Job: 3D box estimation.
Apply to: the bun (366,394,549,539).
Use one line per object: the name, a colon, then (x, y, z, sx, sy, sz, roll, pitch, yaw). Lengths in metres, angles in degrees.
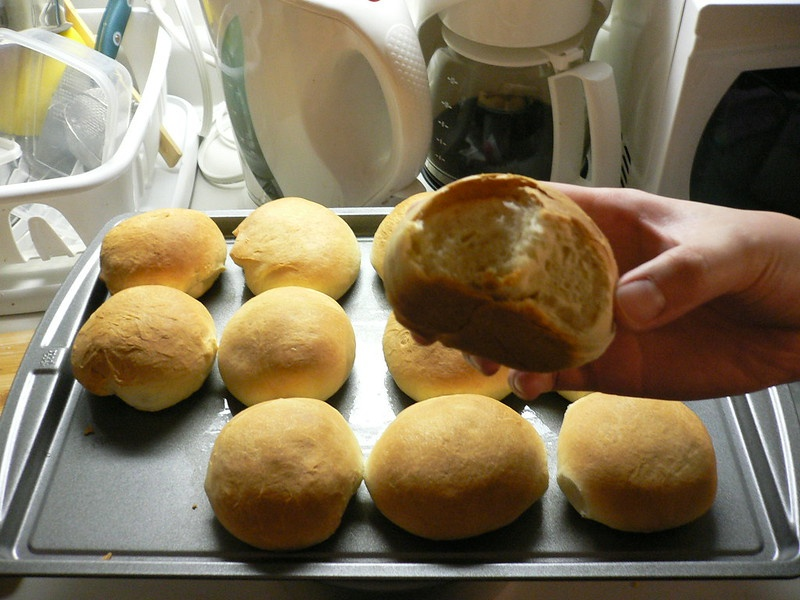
bun: (0.066, 0.186, 0.808, 0.212, 0.076, 0.147, -6, 44, -4)

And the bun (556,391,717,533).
bun: (0.262, 0.173, 0.743, 0.150, 0.075, 0.157, -2, 53, 4)

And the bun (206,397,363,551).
bun: (-0.131, 0.200, 0.807, 0.178, 0.086, 0.147, -8, 44, -6)

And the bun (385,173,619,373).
bun: (0.080, -0.023, 0.642, 0.188, 0.075, 0.165, 11, 74, -21)

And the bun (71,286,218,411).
bun: (-0.331, 0.030, 0.948, 0.177, 0.098, 0.171, 15, 28, -20)
